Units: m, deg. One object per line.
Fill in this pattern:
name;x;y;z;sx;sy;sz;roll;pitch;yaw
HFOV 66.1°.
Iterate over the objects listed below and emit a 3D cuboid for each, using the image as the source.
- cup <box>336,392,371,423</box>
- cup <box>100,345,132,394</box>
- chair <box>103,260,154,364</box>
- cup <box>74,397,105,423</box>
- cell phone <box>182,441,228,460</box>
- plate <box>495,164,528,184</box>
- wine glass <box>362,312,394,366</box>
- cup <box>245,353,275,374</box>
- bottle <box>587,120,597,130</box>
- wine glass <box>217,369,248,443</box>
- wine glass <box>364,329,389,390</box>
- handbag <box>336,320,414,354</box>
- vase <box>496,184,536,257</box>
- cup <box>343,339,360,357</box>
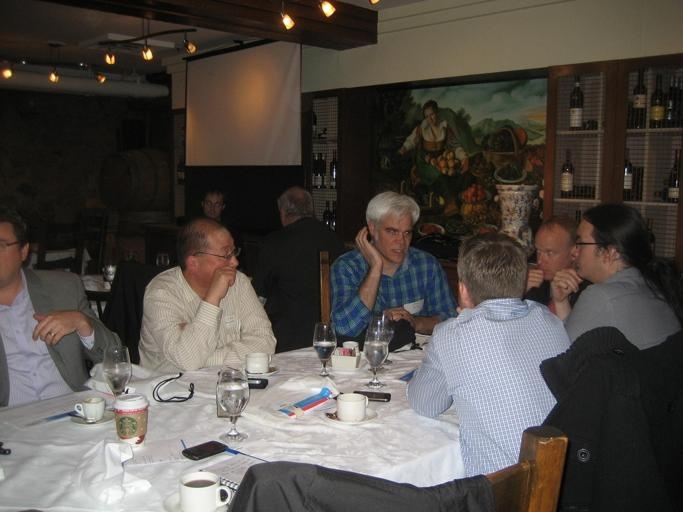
cup;0.026;0.503;1.743;0.070;0.069;0.097;0;-4;7
cup;-0.765;0.417;1.795;0.086;0.226;0.094;0;3;0
chair;-1.042;0.302;2.739;0.198;0.419;0.170;13;10;36
cup;-0.831;0.495;1.740;0.092;0.064;0.072;3;7;10
cell phone;-0.395;0.566;1.539;0.129;0.019;0.070;-6;10;-38
plate;1.538;-0.745;4.770;0.184;0.134;0.187;-1;12;-1
wine glass;0.145;0.409;2.232;0.118;0.293;0.130;4;-1;-11
cup;-0.337;0.446;2.195;0.119;0.060;0.071;2;0;-2
bottle;1.957;-1.026;4.099;0.070;0.076;0.077;2;3;-12
wine glass;-0.336;0.457;1.636;0.100;0.217;0.096;1;1;-8
wine glass;0.138;0.406;2.120;0.097;0.234;0.104;2;-1;-15
handbag;0.210;0.403;2.663;0.286;0.106;0.222;-4;-1;-4
vase;1.555;-0.359;4.640;0.332;0.594;0.349;-9;19;-21
cup;0.054;0.435;2.468;0.052;0.056;0.058;3;6;9
